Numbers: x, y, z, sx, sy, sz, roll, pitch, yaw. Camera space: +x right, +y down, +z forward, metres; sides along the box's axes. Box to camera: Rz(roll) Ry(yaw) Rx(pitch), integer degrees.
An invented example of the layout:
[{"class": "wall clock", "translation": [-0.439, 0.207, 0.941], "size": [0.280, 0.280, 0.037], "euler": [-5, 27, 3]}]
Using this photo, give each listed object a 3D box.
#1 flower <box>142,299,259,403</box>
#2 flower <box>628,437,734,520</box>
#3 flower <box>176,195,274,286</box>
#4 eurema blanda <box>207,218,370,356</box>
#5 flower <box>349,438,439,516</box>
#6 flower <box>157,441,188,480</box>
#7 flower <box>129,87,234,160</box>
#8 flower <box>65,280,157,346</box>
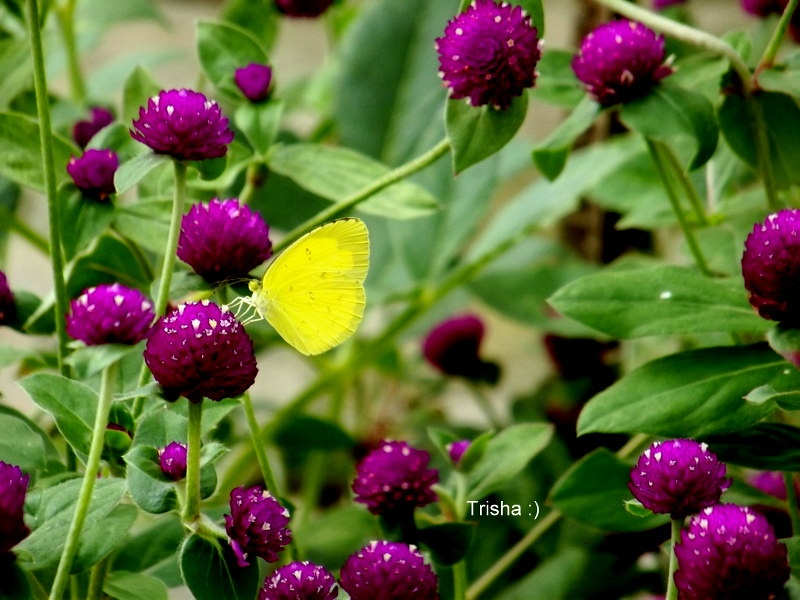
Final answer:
[{"class": "flower", "translation": [-0.132, 0.030, 0.608], "size": [0.058, 0.067, 0.071], "euler": [-8, 54, 15]}, {"class": "flower", "translation": [0.187, 0.119, 0.588], "size": [0.052, 0.057, 0.057], "euler": [-12, 41, -3]}, {"class": "flower", "translation": [-0.134, -0.049, 0.684], "size": [0.057, 0.064, 0.064], "euler": [8, 48, 12]}, {"class": "eurema blanda", "translation": [-0.098, -0.022, 0.732], "size": [0.110, 0.101, 0.122], "euler": [25, 115, 42]}, {"class": "flower", "translation": [-0.004, 0.139, 0.689], "size": [0.066, 0.037, 0.052], "euler": [-11, 66, 6]}, {"class": "flower", "translation": [-0.156, 0.112, 0.602], "size": [0.018, 0.024, 0.026], "euler": [0, 88, -14]}, {"class": "flower", "translation": [-0.149, -0.121, 0.600], "size": [0.053, 0.053, 0.036], "euler": [23, 112, 45]}, {"class": "flower", "translation": [-0.181, 0.010, 0.543], "size": [0.038, 0.040, 0.030], "euler": [-13, 104, -15]}]
